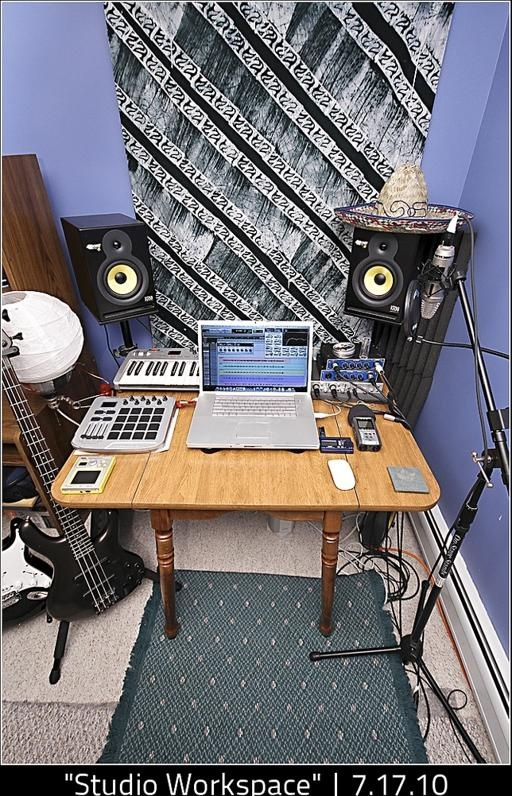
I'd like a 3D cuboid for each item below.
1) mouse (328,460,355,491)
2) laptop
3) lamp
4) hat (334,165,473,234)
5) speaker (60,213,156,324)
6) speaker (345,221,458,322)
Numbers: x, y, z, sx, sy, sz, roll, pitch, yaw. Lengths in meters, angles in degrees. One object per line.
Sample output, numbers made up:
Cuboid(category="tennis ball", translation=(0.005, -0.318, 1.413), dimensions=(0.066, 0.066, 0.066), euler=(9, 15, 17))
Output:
Cuboid(category="mouse", translation=(0.264, 0.237, 1.363), dimensions=(0.077, 0.031, 0.135), euler=(6, 39, -2))
Cuboid(category="laptop", translation=(-0.006, -0.075, 1.579), dimensions=(0.433, 0.283, 0.453), euler=(1, 25, 3))
Cuboid(category="lamp", translation=(-0.766, -0.064, 1.632), dimensions=(0.233, 0.593, 0.359), euler=(-2, 38, -11))
Cuboid(category="hat", translation=(0.555, -0.728, 1.618), dimensions=(0.406, 0.187, 0.499), euler=(4, 30, 5))
Cuboid(category="speaker", translation=(-0.577, -0.553, 1.831), dimensions=(0.272, 0.375, 0.320), euler=(-10, 39, -12))
Cuboid(category="speaker", translation=(0.479, -0.537, 1.682), dimensions=(0.251, 0.420, 0.274), euler=(17, 48, 23))
